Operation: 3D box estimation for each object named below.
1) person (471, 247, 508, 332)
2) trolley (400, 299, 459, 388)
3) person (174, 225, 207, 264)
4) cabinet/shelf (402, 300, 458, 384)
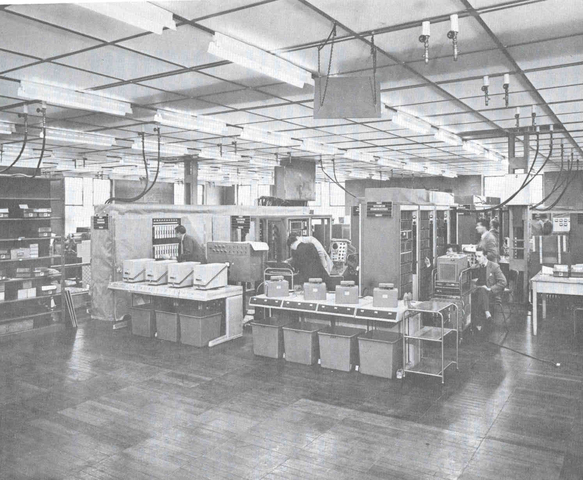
[{"bbox_3d":[3.675,0.884,9.633,0.516,1.270,1.528,2,6,26],"label":"person"},{"bbox_3d":[1.942,1.425,7.278,0.827,1.501,1.397,-1,-2,23],"label":"trolley"},{"bbox_3d":[-1.934,0.048,9.963,0.516,0.683,1.122,-1,5,-11],"label":"person"},{"bbox_3d":[1.950,1.408,7.278,0.800,1.368,1.421,1,0,22],"label":"cabinet/shelf"}]
